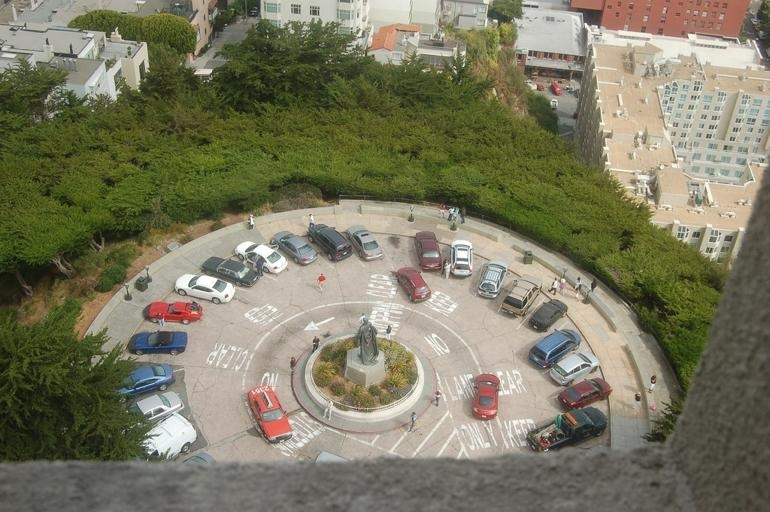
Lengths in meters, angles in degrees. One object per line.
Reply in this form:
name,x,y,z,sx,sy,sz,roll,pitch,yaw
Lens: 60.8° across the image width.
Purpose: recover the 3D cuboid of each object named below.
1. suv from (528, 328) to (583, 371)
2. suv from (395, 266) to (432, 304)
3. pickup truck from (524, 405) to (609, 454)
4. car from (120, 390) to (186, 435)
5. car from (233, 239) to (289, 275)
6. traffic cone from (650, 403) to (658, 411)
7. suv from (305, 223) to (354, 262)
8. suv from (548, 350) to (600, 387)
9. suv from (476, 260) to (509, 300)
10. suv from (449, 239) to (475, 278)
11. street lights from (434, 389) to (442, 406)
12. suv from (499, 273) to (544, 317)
suv,14.024,7.591,54.147,4.811,1.811,2.203,-34,49,-22
suv,2.572,2.238,60.446,2.215,1.735,4.908,-11,36,-17
pickup truck,13.520,12.334,47.571,6.347,2.343,2.238,-18,30,-15
car,-16.249,10.494,47.136,3.693,1.076,1.751,-14,49,-45
car,-11.548,-0.134,61.423,4.121,1.309,2.730,33,53,15
traffic cone,20.321,11.359,49.659,0.443,0.197,0.475,-20,35,2
suv,-5.458,-1.732,64.616,2.445,1.978,5.429,-28,50,-33
suv,15.178,8.996,52.535,4.066,1.502,1.990,-27,48,-21
suv,9.897,2.264,61.159,2.334,1.615,5.009,13,27,16
suv,7.420,-0.109,63.221,2.124,1.570,5.021,4,41,1
street lights,4.110,10.885,50.563,0.820,1.128,0.363,-12,26,-20
suv,12.123,3.517,58.540,2.352,1.848,4.435,22,61,28
